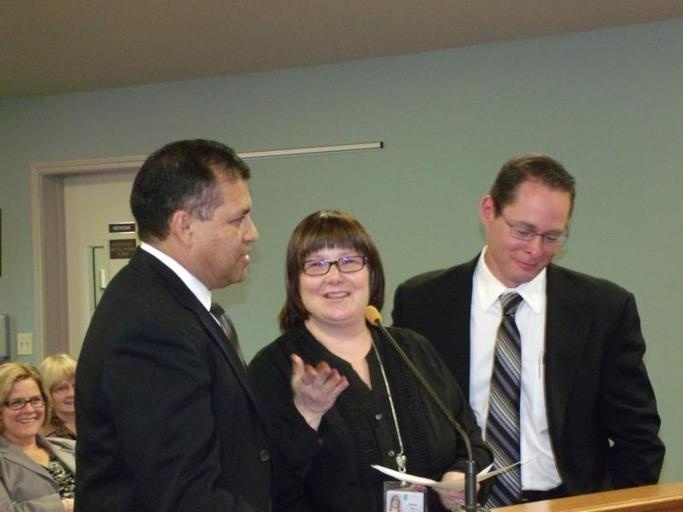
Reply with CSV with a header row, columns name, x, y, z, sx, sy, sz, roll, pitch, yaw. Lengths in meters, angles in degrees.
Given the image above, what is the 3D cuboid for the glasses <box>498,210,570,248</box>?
name,x,y,z,sx,sy,sz,roll,pitch,yaw
glasses,0.773,-0.085,2.580,0.260,0.120,0.092,0,-5,-16
